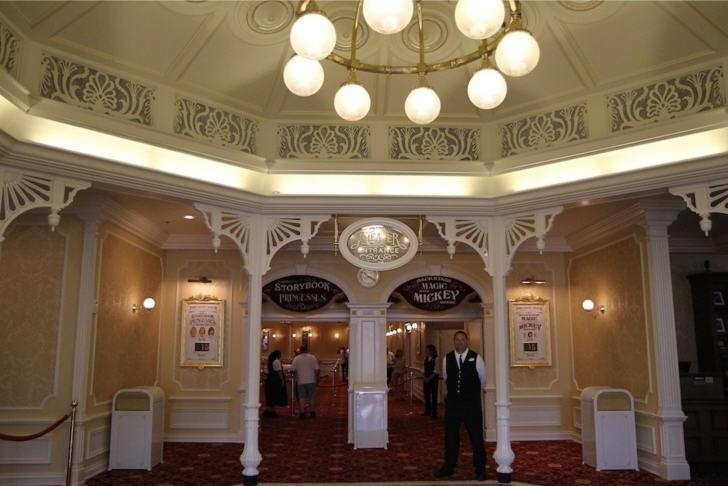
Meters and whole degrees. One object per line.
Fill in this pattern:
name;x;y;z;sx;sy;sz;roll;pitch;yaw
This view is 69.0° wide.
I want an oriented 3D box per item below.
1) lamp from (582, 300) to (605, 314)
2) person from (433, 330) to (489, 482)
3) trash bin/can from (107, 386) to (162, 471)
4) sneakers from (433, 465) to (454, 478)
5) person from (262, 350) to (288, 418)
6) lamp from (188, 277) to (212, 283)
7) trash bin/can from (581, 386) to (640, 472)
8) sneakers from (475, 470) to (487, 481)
lamp;4.238;1.189;9.734;0.265;0.157;0.133;11;-4;-8
person;1.456;2.400;7.909;0.544;2.095;0.632;10;-17;-36
trash bin/can;-3.682;2.984;8.408;0.617;1.050;1.090;1;-14;-9
sneakers;1.178;3.371;7.802;0.342;0.147;0.130;14;-19;-23
person;-2.263;3.609;13.667;0.495;1.581;1.698;1;-14;-8
lamp;-3.325;0.771;10.719;0.462;0.136;0.114;-2;-14;3
trash bin/can;3.878;2.940;8.389;0.837;1.221;0.541;-7;-15;25
sneakers;1.697;3.350;7.658;0.162;0.145;0.208;-3;-14;10
